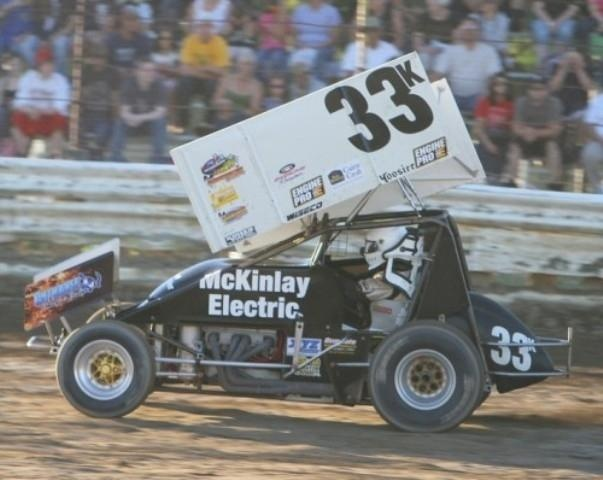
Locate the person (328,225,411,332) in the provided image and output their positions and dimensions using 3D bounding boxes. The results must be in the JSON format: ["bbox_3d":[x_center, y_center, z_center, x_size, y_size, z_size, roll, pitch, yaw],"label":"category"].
[{"bbox_3d":[0.630,0.349,14.316,0.369,0.852,0.731,3,2,-45],"label":"person"}]

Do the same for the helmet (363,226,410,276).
[{"bbox_3d":[0.687,0.057,14.397,0.420,0.368,0.344,3,4,19],"label":"helmet"}]

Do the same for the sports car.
[{"bbox_3d":[0.050,0.760,14.978,4.715,1.671,2.064,0,-4,3],"label":"sports car"}]
